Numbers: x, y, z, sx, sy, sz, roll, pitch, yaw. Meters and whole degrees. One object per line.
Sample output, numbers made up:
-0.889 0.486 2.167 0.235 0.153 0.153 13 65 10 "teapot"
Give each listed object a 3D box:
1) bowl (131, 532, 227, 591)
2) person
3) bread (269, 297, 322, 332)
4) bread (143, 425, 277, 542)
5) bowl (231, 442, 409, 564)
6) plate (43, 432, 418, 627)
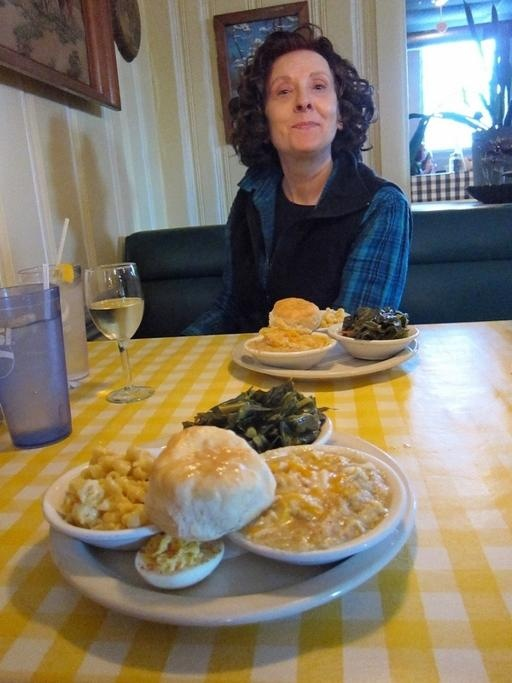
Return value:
-0.066 0.188 0.460 0.072 0.024 0.070 -5 14 1 "bowl"
0.187 -0.636 2.001 0.757 1.195 0.873 0 18 17 "person"
0.084 -0.071 1.182 0.088 0.041 0.083 -6 16 -27 "bread"
-0.043 0.115 0.485 0.124 0.044 0.136 4 22 -4 "bread"
0.057 0.144 0.489 0.154 0.035 0.150 -12 29 7 "bowl"
-0.010 0.182 0.479 0.352 0.038 0.193 -8 16 -13 "plate"
